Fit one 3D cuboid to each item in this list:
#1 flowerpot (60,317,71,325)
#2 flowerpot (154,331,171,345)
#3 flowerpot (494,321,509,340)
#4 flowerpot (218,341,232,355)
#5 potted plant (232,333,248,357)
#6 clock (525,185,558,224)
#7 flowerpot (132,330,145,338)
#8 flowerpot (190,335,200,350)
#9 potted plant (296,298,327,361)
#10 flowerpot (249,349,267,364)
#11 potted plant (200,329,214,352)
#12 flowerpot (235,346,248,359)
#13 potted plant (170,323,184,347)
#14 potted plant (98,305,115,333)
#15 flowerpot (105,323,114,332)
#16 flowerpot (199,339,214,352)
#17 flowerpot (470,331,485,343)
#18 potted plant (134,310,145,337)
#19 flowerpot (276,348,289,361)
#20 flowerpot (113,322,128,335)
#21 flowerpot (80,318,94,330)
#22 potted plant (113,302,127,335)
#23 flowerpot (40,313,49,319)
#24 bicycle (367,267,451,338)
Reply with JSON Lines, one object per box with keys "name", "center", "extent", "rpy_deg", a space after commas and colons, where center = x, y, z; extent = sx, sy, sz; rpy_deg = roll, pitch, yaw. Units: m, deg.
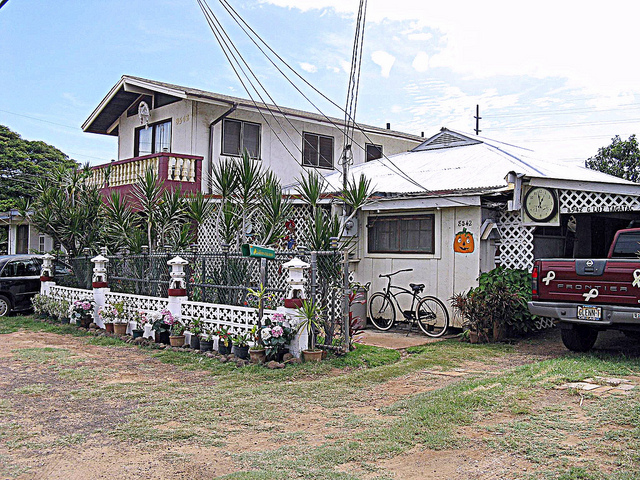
{"name": "flowerpot", "center": [-6.721, 2.121, 15.486], "extent": [0.310, 0.134, 0.137], "rpy_deg": [-1, 3, 7]}
{"name": "flowerpot", "center": [-3.357, 2.108, 12.585], "extent": [0.412, 0.319, 0.223], "rpy_deg": [6, -13, -32]}
{"name": "flowerpot", "center": [3.847, 1.929, 12.524], "extent": [0.136, 0.352, 0.509], "rpy_deg": [2, 5, 44]}
{"name": "flowerpot", "center": [-1.832, 2.077, 11.272], "extent": [0.228, 0.179, 0.238], "rpy_deg": [2, -8, -5]}
{"name": "potted plant", "center": [-1.456, 1.972, 10.843], "extent": [0.318, 0.347, 0.312], "rpy_deg": [1, -9, -3]}
{"name": "clock", "center": [4.707, -0.732, 12.512], "extent": [0.729, 0.911, 0.129], "rpy_deg": [-4, -5, 36]}
{"name": "flowerpot", "center": [-4.052, 2.091, 13.106], "extent": [0.173, 0.127, 0.183], "rpy_deg": [-2, -5, 26]}
{"name": "flowerpot", "center": [-2.500, 2.071, 11.904], "extent": [0.225, 0.232, 0.238], "rpy_deg": [0, -3, 15]}
{"name": "potted plant", "center": [-0.159, 1.610, 10.599], "extent": [0.426, 1.120, 0.599], "rpy_deg": [0, 4, 27]}
{"name": "flowerpot", "center": [-1.112, 2.084, 10.551], "extent": [0.242, 0.197, 0.252], "rpy_deg": [-7, -9, 43]}
{"name": "potted plant", "center": [-2.209, 2.040, 11.795], "extent": [0.323, 0.383, 0.342], "rpy_deg": [0, -5, 12]}
{"name": "flowerpot", "center": [-1.445, 2.065, 10.806], "extent": [0.213, 0.168, 0.203], "rpy_deg": [5, -9, -36]}
{"name": "potted plant", "center": [-2.944, 1.966, 12.084], "extent": [0.365, 0.526, 0.390], "rpy_deg": [1, -7, -11]}
{"name": "potted plant", "center": [-5.110, 1.895, 14.131], "extent": [0.251, 0.546, 0.982], "rpy_deg": [-3, 4, -28]}
{"name": "flowerpot", "center": [-4.954, 2.062, 13.886], "extent": [0.200, 0.161, 0.211], "rpy_deg": [0, -1, 28]}
{"name": "flowerpot", "center": [-2.262, 2.089, 11.631], "extent": [0.202, 0.168, 0.216], "rpy_deg": [-5, -7, 42]}
{"name": "flowerpot", "center": [3.264, 2.033, 12.332], "extent": [0.223, 0.181, 0.233], "rpy_deg": [-3, -7, 38]}
{"name": "potted plant", "center": [-4.019, 1.881, 13.060], "extent": [0.411, 0.556, 0.171], "rpy_deg": [2, 4, 41]}
{"name": "flowerpot", "center": [-0.671, 2.059, 10.603], "extent": [0.076, 0.205, 0.254], "rpy_deg": [1, 4, 38]}
{"name": "flowerpot", "center": [-4.632, 2.056, 13.659], "extent": [0.248, 0.185, 0.250], "rpy_deg": [2, -8, -22]}
{"name": "flowerpot", "center": [-5.840, 2.103, 14.702], "extent": [0.228, 0.173, 0.232], "rpy_deg": [0, 0, -15]}
{"name": "potted plant", "center": [-4.642, 1.838, 13.721], "extent": [0.235, 0.705, 0.345], "rpy_deg": [-3, 4, -26]}
{"name": "flowerpot", "center": [-7.501, 2.073, 16.072], "extent": [0.213, 0.128, 0.230], "rpy_deg": [-10, 14, -23]}
{"name": "bicycle", "center": [1.979, 1.507, 13.805], "extent": [2.260, 1.480, 1.129], "rpy_deg": [-2, 4, 42]}
